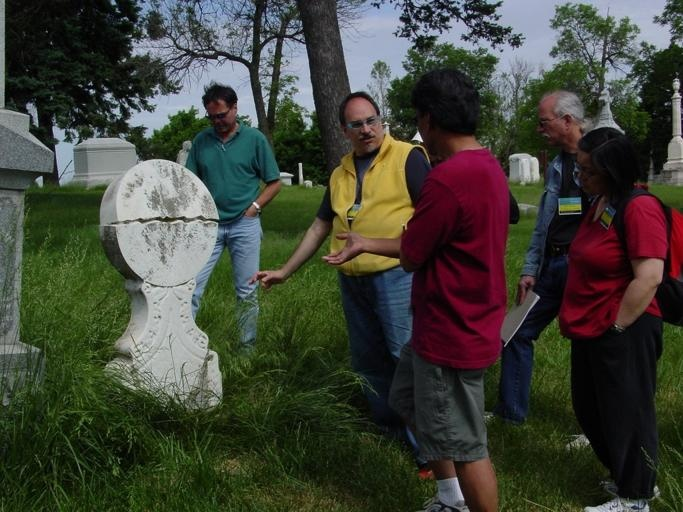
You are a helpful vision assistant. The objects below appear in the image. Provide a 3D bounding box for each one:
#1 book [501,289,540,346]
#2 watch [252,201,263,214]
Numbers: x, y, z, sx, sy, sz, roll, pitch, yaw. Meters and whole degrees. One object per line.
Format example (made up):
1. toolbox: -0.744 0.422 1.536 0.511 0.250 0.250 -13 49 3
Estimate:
1. book: 1.319 0.464 4.379 0.099 0.409 0.390 29 4 2
2. watch: -0.788 -0.447 5.471 0.069 0.119 0.119 -26 -8 -14
